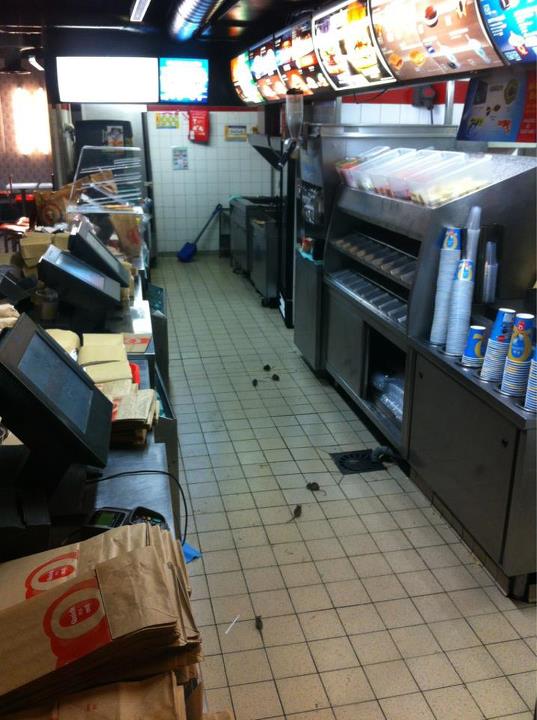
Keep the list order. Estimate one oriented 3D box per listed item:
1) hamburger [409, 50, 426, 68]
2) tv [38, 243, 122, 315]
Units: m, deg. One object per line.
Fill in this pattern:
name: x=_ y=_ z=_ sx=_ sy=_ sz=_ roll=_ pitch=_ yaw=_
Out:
hamburger: x=0.780 y=-1.597 z=2.786 sx=0.071 sy=0.073 sz=0.072 roll=5 pitch=-9 yaw=-26
tv: x=-1.023 y=-0.547 z=2.987 sx=0.447 sy=0.104 sz=0.424 roll=31 pitch=23 yaw=-34
